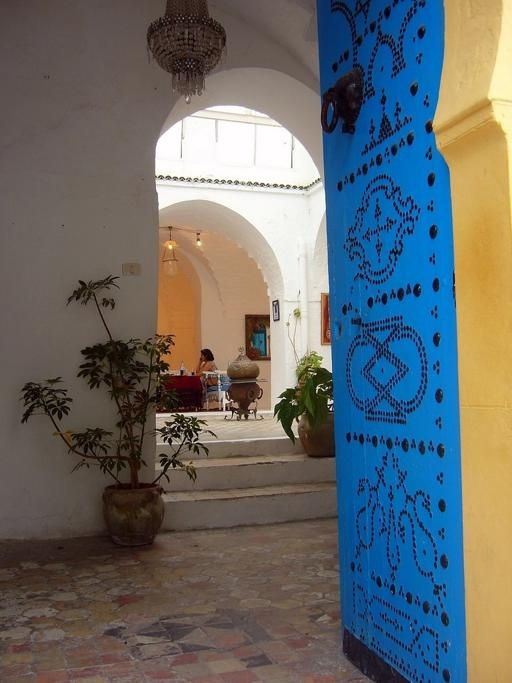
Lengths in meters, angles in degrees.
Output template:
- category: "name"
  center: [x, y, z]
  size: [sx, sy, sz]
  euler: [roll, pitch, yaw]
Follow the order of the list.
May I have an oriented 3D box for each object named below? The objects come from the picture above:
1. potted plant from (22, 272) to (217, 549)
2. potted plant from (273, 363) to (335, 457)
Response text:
- category: "potted plant"
  center: [-1.106, 0.462, 4.336]
  size: [1.175, 2.099, 1.063]
  euler: [2, -7, -23]
- category: "potted plant"
  center: [0.570, 0.714, 5.745]
  size: [0.830, 0.905, 0.867]
  euler: [-1, -9, 1]
